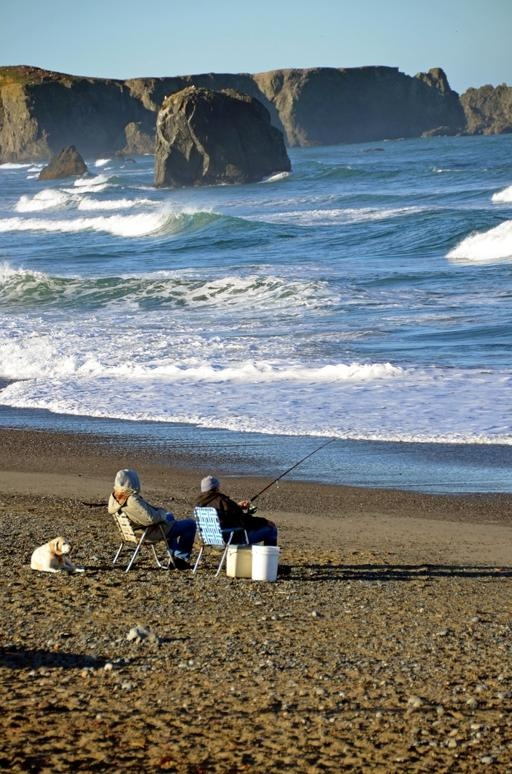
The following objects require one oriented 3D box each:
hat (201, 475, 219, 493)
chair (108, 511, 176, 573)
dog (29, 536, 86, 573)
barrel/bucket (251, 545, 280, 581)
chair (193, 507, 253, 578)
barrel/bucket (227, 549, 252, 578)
[{"bbox_3d":[-0.286,0.609,8.571,0.086,0.080,0.121,0,18,17],"label":"hat"},{"bbox_3d":[-0.746,0.937,8.610,0.364,0.457,0.375,-1,5,14],"label":"chair"},{"bbox_3d":[-1.221,1.028,8.325,0.334,0.256,0.254,-3,10,-10],"label":"dog"},{"bbox_3d":[0.058,1.067,8.268,0.183,0.209,0.190,1,-2,0],"label":"barrel/bucket"},{"bbox_3d":[-0.265,0.958,8.630,0.389,0.563,0.393,-2,1,-39],"label":"chair"},{"bbox_3d":[-0.090,1.076,8.369,0.157,0.195,0.164,2,-2,0],"label":"barrel/bucket"}]
